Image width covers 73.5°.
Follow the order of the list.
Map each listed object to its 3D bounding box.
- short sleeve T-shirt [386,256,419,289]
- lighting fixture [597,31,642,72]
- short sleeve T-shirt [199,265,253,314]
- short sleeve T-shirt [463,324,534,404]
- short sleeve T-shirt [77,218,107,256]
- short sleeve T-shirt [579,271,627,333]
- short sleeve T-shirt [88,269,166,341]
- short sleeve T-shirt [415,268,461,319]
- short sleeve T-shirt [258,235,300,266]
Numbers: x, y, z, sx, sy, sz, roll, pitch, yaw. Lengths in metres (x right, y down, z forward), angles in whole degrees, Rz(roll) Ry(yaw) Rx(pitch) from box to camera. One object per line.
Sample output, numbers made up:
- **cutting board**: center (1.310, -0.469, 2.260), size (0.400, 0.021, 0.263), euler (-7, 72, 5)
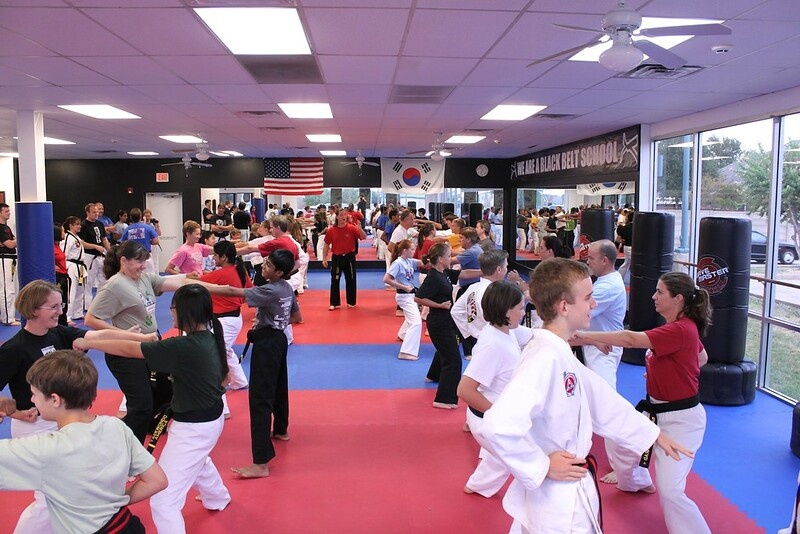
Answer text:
- **short sleeve T-shirt**: center (0.062, 0.063, 9.650), size (0.521, 0.672, 0.634), euler (-7, 6, 6)
- **lighting fixture**: center (2.097, -1.986, 5.072), size (0.353, 0.321, 0.350), euler (0, -4, 18)
- **short sleeve T-shirt**: center (-2.224, 0.282, 6.952), size (0.843, 0.749, 0.605), euler (1, -2, -39)
- **short sleeve T-shirt**: center (0.894, 0.829, 5.138), size (0.742, 0.793, 0.869), euler (2, 10, 0)
- **short sleeve T-shirt**: center (-6.715, -0.694, 11.741), size (0.379, 0.718, 0.659), euler (11, 13, 24)
- **short sleeve T-shirt**: center (1.974, 0.354, 5.197), size (0.385, 0.668, 0.661), euler (7, 3, 31)
- **short sleeve T-shirt**: center (-2.943, 0.323, 5.799), size (0.597, 0.770, 1.029), euler (-2, 4, 10)
- **short sleeve T-shirt**: center (0.587, 0.334, 7.488), size (0.878, 0.686, 0.429), euler (-13, 17, -38)
- **short sleeve T-shirt**: center (-2.051, -0.358, 9.000), size (0.832, 0.404, 0.797), euler (-5, -1, -16)
